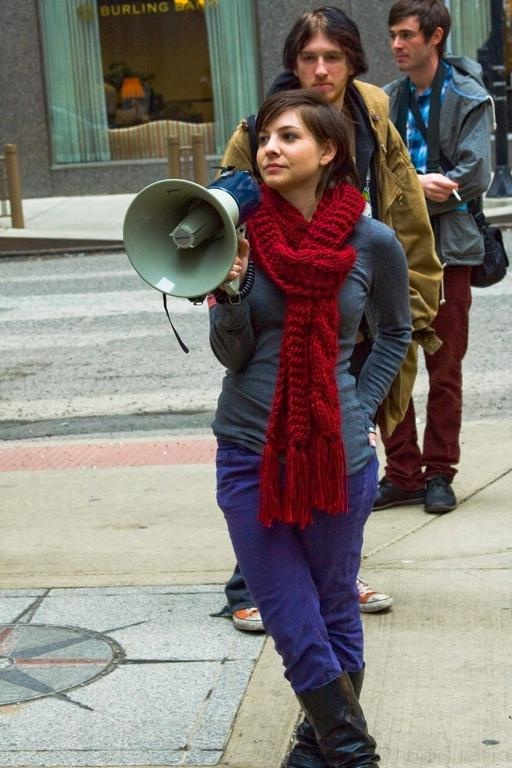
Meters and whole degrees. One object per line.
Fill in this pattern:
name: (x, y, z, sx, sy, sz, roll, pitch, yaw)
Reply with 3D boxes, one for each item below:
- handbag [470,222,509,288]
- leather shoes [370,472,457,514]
handbag: (1.129, -0.620, 4.104, 0.159, 0.321, 0.170, 15, 25, 36)
leather shoes: (0.656, 0.532, 3.941, 0.539, 0.204, 0.201, 2, 3, 1)
